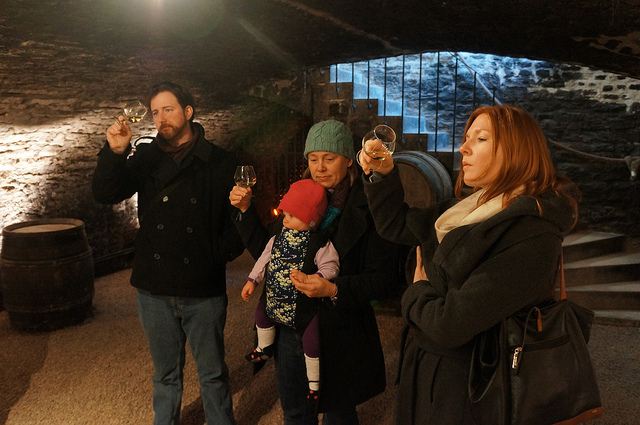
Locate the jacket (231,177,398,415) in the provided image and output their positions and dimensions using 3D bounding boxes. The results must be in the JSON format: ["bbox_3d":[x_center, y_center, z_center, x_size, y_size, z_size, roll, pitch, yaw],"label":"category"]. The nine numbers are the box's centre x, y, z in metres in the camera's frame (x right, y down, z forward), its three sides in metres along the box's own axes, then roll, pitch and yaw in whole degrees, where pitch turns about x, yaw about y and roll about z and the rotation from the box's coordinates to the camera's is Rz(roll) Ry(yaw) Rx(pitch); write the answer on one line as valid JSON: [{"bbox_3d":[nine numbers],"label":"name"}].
[{"bbox_3d":[-0.007,0.477,2.882,1.080,1.317,0.742,2,-4,20],"label":"jacket"}]

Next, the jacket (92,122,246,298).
[{"bbox_3d":[-1.030,-0.006,3.078,1.123,1.057,0.478,9,-6,-18],"label":"jacket"}]

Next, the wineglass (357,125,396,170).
[{"bbox_3d":[0.302,-0.369,2.475,0.196,0.257,0.167,1,18,-9],"label":"wineglass"}]

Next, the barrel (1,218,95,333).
[{"bbox_3d":[-3.018,0.657,5.283,1.228,1.203,1.170,-3,10,-16],"label":"barrel"}]

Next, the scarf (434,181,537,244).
[{"bbox_3d":[0.791,-0.009,2.143,0.387,0.182,0.289,-41,57,-7],"label":"scarf"}]

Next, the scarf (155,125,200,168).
[{"bbox_3d":[-0.977,-0.473,3.057,0.251,0.273,0.217,17,22,39],"label":"scarf"}]

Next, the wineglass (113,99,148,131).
[{"bbox_3d":[-1.312,-0.674,3.056,0.155,0.213,0.147,-4,10,-9],"label":"wineglass"}]

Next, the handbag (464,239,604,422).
[{"bbox_3d":[0.993,0.693,2.036,0.573,0.548,0.316,1,18,5],"label":"handbag"}]

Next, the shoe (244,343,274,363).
[{"bbox_3d":[-0.435,0.916,2.859,0.261,0.110,0.082,-9,7,28],"label":"shoe"}]

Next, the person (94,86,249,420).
[{"bbox_3d":[-0.948,0.291,2.957,0.878,2.207,0.921,-10,20,-27],"label":"person"}]
